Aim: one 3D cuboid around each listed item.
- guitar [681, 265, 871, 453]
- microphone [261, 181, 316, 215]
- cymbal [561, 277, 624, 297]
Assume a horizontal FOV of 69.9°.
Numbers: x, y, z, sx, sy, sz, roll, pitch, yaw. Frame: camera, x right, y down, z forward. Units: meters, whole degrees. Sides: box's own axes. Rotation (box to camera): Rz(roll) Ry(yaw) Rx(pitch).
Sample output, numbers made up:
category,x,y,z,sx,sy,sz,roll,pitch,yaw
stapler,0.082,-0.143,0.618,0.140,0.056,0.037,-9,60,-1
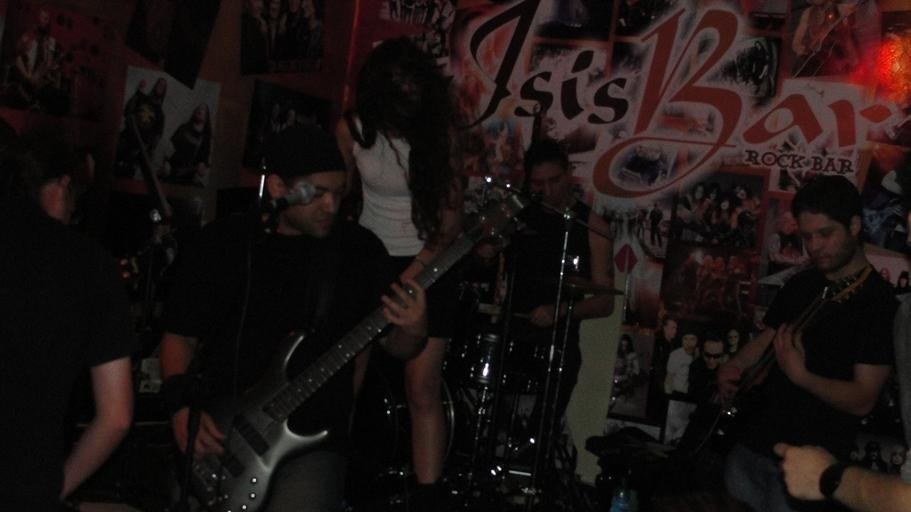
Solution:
category,x,y,z,sx,sy,sz,roll,pitch,yaw
guitar,2.485,0.775,4.944,0.325,2.137,0.772,35,32,0
microphone,-0.946,-0.327,3.795,0.350,0.111,0.128,-29,64,-25
cymbal,1.067,0.253,5.264,0.257,0.049,0.261,7,8,-30
